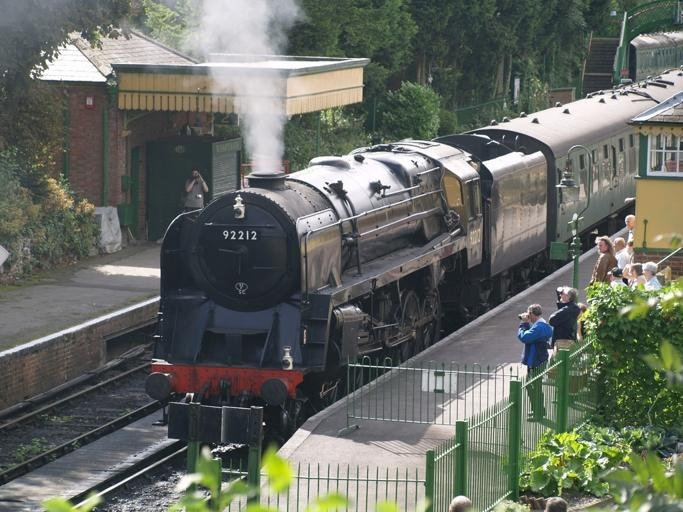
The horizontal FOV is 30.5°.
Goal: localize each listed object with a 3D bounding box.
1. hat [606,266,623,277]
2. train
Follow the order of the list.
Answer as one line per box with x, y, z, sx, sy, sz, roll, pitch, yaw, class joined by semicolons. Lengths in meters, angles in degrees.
4.635;0.283;21.017;0.169;0.180;0.492;-2;10;5;hat
3.167;-1.199;29.414;3.877;4.125;23.277;2;12;18;train
